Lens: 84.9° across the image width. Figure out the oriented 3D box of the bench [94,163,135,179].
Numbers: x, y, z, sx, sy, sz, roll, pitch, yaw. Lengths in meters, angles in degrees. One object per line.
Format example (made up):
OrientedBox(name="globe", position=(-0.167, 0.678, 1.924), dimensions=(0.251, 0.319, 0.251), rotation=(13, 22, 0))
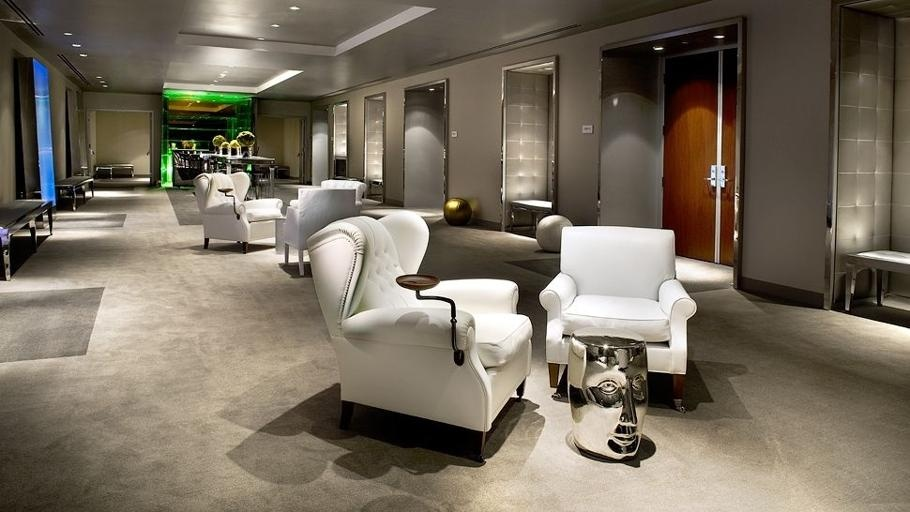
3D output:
OrientedBox(name="bench", position=(-16.930, -4.186, 24.706), dimensions=(1.676, 0.633, 1.754), rotation=(9, 16, 32))
